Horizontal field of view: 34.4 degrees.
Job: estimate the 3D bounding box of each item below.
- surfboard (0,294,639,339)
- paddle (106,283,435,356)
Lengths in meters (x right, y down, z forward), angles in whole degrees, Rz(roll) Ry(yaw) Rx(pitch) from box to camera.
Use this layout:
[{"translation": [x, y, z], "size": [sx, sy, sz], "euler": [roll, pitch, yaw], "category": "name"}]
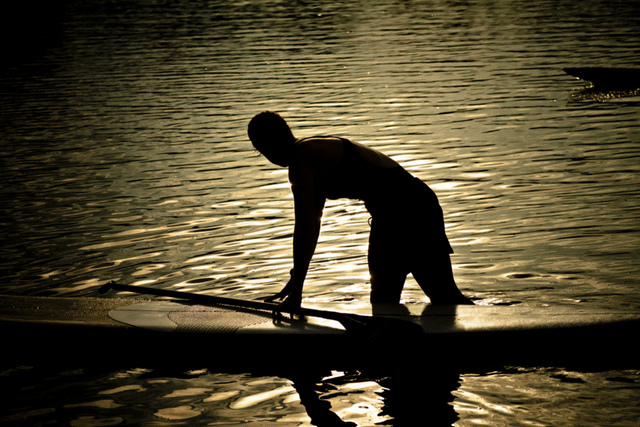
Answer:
[{"translation": [-0.095, 1.305, 12.778], "size": [7.439, 0.190, 0.781], "euler": [0, 2, 4], "category": "surfboard"}, {"translation": [-0.604, 1.359, 12.798], "size": [6.343, 0.205, 0.662], "euler": [4, 3, 6], "category": "paddle"}]
